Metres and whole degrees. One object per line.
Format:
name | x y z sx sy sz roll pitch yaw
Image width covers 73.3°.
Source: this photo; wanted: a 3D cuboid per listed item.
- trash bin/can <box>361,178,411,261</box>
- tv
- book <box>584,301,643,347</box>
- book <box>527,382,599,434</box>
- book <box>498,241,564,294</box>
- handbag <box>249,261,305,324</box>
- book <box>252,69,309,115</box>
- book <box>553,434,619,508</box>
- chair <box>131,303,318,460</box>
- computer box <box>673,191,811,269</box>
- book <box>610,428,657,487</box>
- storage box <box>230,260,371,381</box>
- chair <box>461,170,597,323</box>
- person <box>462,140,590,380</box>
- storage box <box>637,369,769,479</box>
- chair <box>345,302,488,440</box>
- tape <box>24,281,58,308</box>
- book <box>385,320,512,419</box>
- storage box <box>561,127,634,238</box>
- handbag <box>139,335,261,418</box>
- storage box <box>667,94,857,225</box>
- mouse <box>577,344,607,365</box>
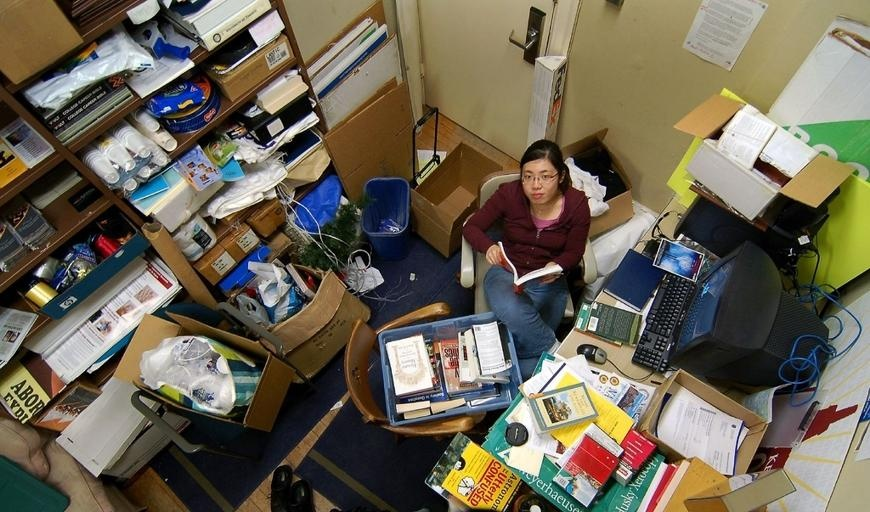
trash bin/can | -0.378 -0.334 4.643 0.408 0.573 0.604 -3 67 3
tv | 1.871 0.399 3.662 0.848 0.854 0.854 20 -6 42
book | 1.134 0.420 3.685 0.295 0.075 0.229 17 76 13
book | 0.715 0.825 3.256 0.328 0.099 0.224 -10 71 -4
book | 0.673 0.106 3.955 0.469 0.297 0.177 20 48 20
handbag | -1.118 0.235 4.331 0.341 0.467 0.196 -35 2 2
book | -1.012 -1.085 3.877 0.286 0.112 0.311 -34 79 -10
book | 0.841 1.190 3.249 0.264 0.102 0.352 36 83 21
chair | -1.425 0.799 3.876 0.622 0.570 0.886 30 0 14
computer box | 1.882 -0.113 3.790 0.531 0.429 0.775 30 13 8
book | 1.101 1.106 3.270 0.199 0.081 0.273 40 82 9
storage box | -0.979 0.370 4.530 0.830 0.626 0.835 -40 57 -6
chair | 0.616 -0.029 4.468 0.944 1.009 1.182 -2 -5 6
person | 0.648 0.069 3.967 0.727 1.280 1.246 13 58 15
storage box | 1.547 0.958 3.547 0.698 0.528 0.251 32 2 15
chair | -0.113 0.712 3.968 0.841 0.974 1.182 -11 -3 12
tape | -2.384 0.227 3.540 0.100 0.089 0.091 39 65 -1
book | 0.089 0.719 3.735 0.736 0.249 0.578 -7 82 9
storage box | 1.264 -0.604 4.578 0.564 0.273 0.782 -26 78 3
handbag | -1.463 0.747 3.732 0.689 0.250 0.422 21 82 -11
storage box | 2.099 -0.575 3.903 1.269 0.615 0.371 38 10 9
mouse | 0.981 0.599 3.647 0.161 0.054 0.102 18 76 12
